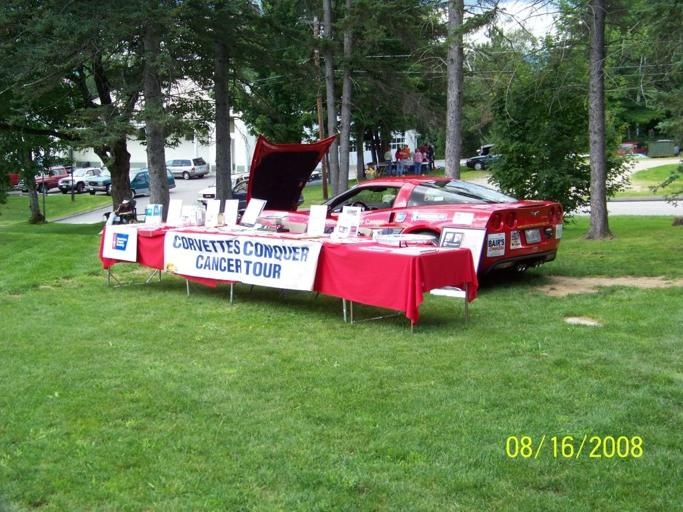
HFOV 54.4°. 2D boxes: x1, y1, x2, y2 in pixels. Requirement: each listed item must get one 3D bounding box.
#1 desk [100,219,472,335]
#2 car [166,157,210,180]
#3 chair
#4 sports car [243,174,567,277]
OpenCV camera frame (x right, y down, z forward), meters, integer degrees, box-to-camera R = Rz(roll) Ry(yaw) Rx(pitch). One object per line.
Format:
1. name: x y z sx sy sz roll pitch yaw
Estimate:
1. desk: -1.198 0.153 10.769 7.018 1.234 1.686 7 14 36
2. car: -11.827 -6.731 50.176 2.713 1.134 1.596 11 20 24
3. chair: -1.283 0.120 10.497 2.276 1.715 2.443 -13 20 -43
4. sports car: 0.746 -0.540 13.028 6.527 1.711 3.512 0 8 33
